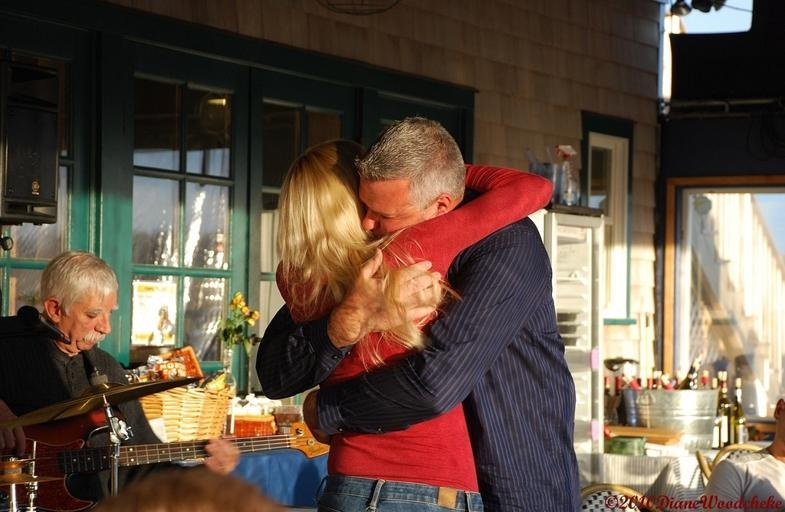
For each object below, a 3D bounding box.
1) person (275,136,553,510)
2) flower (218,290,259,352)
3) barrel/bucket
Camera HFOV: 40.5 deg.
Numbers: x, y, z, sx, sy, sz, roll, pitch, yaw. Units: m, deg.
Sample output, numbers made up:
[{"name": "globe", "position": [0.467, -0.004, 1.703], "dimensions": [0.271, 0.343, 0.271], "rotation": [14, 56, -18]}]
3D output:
[{"name": "person", "position": [0.045, 0.317, 4.944], "dimensions": [1.146, 1.722, 0.339], "rotation": [0, -4, -10]}, {"name": "flower", "position": [-1.093, 0.503, 7.521], "dimensions": [0.245, 0.454, 0.306], "rotation": [6, -7, 14]}, {"name": "barrel/bucket", "position": [2.358, 1.373, 8.798], "dimensions": [0.535, 0.344, 0.487], "rotation": [0, -8, 0]}]
